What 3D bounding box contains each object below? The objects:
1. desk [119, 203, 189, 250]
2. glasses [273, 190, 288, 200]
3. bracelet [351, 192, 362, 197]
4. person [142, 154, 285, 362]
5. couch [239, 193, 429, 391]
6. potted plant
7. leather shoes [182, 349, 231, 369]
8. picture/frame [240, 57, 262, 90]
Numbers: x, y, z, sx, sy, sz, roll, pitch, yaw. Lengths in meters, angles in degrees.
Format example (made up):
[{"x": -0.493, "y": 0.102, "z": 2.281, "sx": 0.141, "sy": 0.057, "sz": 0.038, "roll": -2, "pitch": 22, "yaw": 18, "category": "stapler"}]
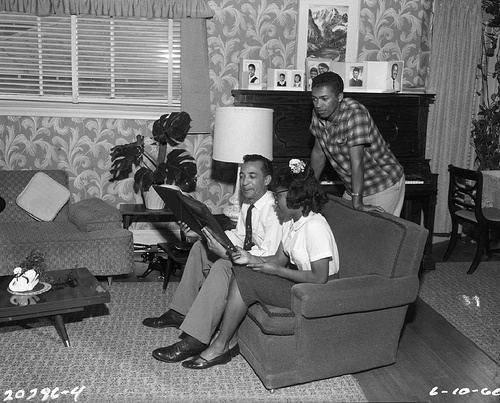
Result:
[{"x": -1.023, "y": 0.173, "z": 4.245, "sx": 0.471, "sy": 0.511, "sz": 0.495, "roll": 1, "pitch": 10, "yaw": -16, "category": "desk"}, {"x": 0.150, "y": -0.034, "z": 2.252, "sx": 0.034, "sy": 0.066, "sz": 0.103, "roll": -5, "pitch": 12, "yaw": -30, "category": "glasses"}, {"x": 0.671, "y": -0.038, "z": 2.733, "sx": 0.018, "sy": 0.024, "sz": 0.059, "roll": 7, "pitch": -4, "yaw": -38, "category": "bracelet"}, {"x": -0.184, "y": 0.304, "z": 2.704, "sx": 0.691, "sy": 1.190, "sz": 0.780, "roll": 13, "pitch": 15, "yaw": 42, "category": "person"}, {"x": 0.424, "y": 0.462, "z": 2.793, "sx": 0.838, "sy": 0.913, "sz": 1.199, "roll": -3, "pitch": 12, "yaw": -11, "category": "couch"}, {"x": -0.986, "y": -0.423, "z": 4.276, "sx": 0.891, "sy": 0.980, "sz": 0.949, "roll": 10, "pitch": 12, "yaw": 29, "category": "potted plant"}, {"x": -0.254, "y": 0.872, "z": 2.446, "sx": 0.265, "sy": 0.086, "sz": 0.102, "roll": 2, "pitch": -5, "yaw": -22, "category": "leather shoes"}, {"x": 0.001, "y": -1.246, "z": 4.264, "sx": 0.212, "sy": 0.278, "sz": 0.147, "roll": 2, "pitch": 10, "yaw": 6, "category": "picture/frame"}]
